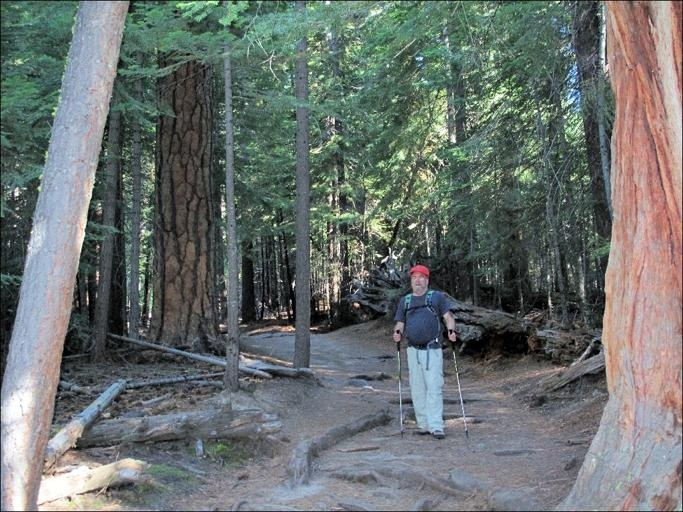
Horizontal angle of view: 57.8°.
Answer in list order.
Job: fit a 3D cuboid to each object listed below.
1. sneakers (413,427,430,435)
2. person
[{"bbox_3d":[1.071,2.375,8.371,0.248,0.080,0.178,-3,-5,20],"label":"sneakers"},{"bbox_3d":[1.135,1.276,8.508,0.807,2.306,0.665,-1,-3,8],"label":"person"}]
